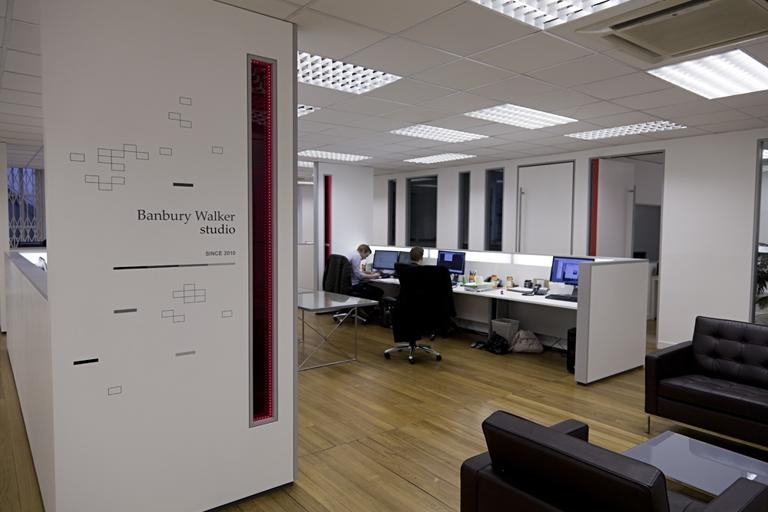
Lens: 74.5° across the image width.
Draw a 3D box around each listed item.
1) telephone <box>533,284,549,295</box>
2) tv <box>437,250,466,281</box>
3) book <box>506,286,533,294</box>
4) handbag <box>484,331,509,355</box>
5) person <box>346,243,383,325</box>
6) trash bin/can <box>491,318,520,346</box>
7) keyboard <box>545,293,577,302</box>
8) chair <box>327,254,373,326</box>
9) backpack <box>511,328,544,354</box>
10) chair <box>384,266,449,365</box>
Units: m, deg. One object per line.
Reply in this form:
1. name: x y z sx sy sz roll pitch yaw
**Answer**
1. telephone: 2.187 0.463 7.017 0.153 0.088 0.147 -1 1 -26
2. tv: 1.045 0.153 7.685 0.167 0.457 0.497 11 -6 -44
3. book: 1.931 0.476 7.132 0.305 0.045 0.426 -2 10 -11
4. handbag: 1.568 1.206 7.054 0.288 0.225 0.360 -10 14 -44
5. person: -0.309 0.478 8.996 0.834 1.357 0.723 4 5 -22
6. trash bin/can: 1.752 1.061 7.208 0.330 0.421 0.366 -2 5 -40
7. keyboard: 2.301 0.534 6.547 0.376 0.048 0.425 1 10 9
8. chair: -0.550 0.560 8.737 0.895 1.155 0.910 7 9 28
9. backpack: 2.002 1.199 7.046 0.416 0.256 0.291 2 11 14
10. chair: 0.377 0.730 6.569 0.880 1.216 0.882 1 3 9
